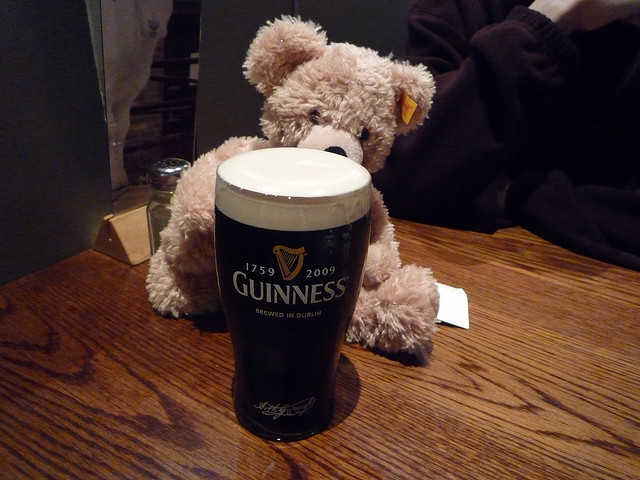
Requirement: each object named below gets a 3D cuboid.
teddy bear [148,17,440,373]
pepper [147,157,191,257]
[{"bbox_3d":[-0.031,-0.085,0.809,0.477,0.466,0.305,6,22,-11],"label":"teddy bear"},{"bbox_3d":[-0.233,-0.050,0.834,0.079,0.139,0.076,-1,17,-12],"label":"pepper"}]
